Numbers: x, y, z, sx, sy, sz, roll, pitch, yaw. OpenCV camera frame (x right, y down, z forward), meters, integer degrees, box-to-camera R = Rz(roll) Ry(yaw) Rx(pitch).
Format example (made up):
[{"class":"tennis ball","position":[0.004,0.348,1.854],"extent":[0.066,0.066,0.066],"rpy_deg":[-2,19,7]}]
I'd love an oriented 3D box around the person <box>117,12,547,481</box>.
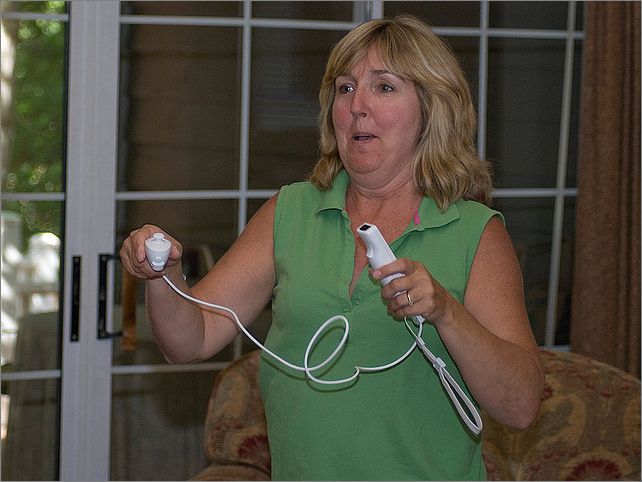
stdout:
[{"class":"person","position":[0.067,0.034,1.758],"extent":[0.929,1.154,0.632],"rpy_deg":[-10,-27,11]}]

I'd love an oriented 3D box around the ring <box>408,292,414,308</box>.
[{"class":"ring","position":[0.209,0.136,1.507],"extent":[0.014,0.026,0.015],"rpy_deg":[-3,-27,-2]}]
